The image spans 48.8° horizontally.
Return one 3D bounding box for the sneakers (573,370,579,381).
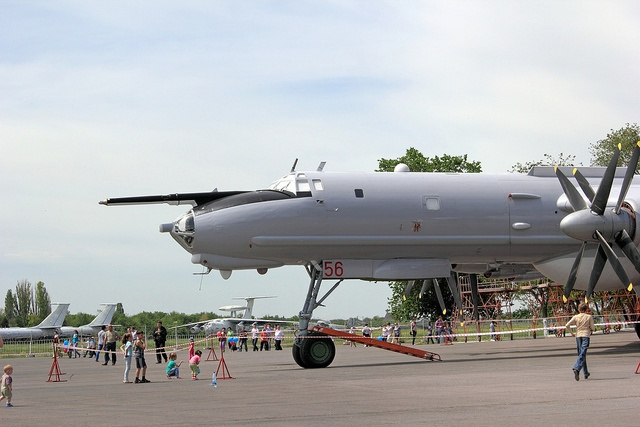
[{"bbox_3d":[7.158,4.554,19.824,0.113,0.322,0.134,-9,-6,35],"label":"sneakers"}]
